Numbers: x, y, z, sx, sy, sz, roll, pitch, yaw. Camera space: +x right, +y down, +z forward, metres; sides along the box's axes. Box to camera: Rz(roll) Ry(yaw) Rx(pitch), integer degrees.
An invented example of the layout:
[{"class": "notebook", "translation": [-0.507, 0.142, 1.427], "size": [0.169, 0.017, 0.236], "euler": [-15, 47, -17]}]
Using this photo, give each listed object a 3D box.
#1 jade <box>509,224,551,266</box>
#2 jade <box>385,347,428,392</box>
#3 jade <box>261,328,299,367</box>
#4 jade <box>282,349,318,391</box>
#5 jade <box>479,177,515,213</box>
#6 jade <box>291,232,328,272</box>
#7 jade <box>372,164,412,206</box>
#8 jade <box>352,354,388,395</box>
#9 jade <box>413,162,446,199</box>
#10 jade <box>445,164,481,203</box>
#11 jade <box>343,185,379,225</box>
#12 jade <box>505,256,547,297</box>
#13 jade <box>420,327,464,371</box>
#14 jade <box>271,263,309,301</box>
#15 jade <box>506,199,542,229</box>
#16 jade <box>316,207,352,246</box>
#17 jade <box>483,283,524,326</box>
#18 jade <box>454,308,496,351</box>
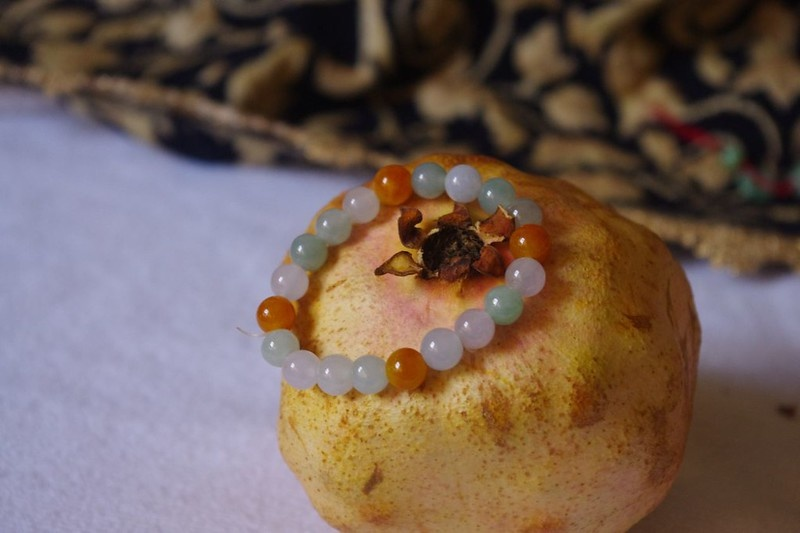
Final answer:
[{"class": "jade", "translation": [0.203, -0.029, 1.545], "size": [0.055, 0.065, 0.056], "euler": [-36, 66, 2]}, {"class": "jade", "translation": [0.011, 0.151, 1.483], "size": [0.062, 0.028, 0.062], "euler": [0, 82, 2]}, {"class": "jade", "translation": [-0.186, 0.122, 1.577], "size": [0.052, 0.052, 0.065], "euler": [-1, 67, -37]}, {"class": "jade", "translation": [-0.147, 0.153, 1.507], "size": [0.050, 0.052, 0.065], "euler": [0, 83, 3]}, {"class": "jade", "translation": [0.149, -0.110, 1.553], "size": [0.050, 0.050, 0.065], "euler": [8, 100, 33]}, {"class": "jade", "translation": [-0.138, -0.025, 1.604], "size": [0.051, 0.054, 0.062], "euler": [-22, 56, -2]}, {"class": "jade", "translation": [-0.012, -0.126, 1.575], "size": [0.055, 0.070, 0.059], "euler": [-7, 40, 1]}, {"class": "jade", "translation": [-0.045, 0.160, 1.481], "size": [0.050, 0.027, 0.055], "euler": [-19, 85, -2]}, {"class": "jade", "translation": [0.045, -0.133, 1.567], "size": [0.049, 0.050, 0.062], "euler": [-3, 88, 43]}, {"class": "jade", "translation": [0.098, -0.128, 1.559], "size": [0.050, 0.053, 0.065], "euler": [1, 106, 12]}, {"class": "jade", "translation": [-0.060, -0.095, 1.568], "size": [0.051, 0.062, 0.055], "euler": [-18, 66, -7]}, {"class": "jade", "translation": [0.188, 0.015, 1.491], "size": [0.053, 0.055, 0.054], "euler": [-23, 35, 6]}, {"class": "jade", "translation": [0.062, 0.119, 1.474], "size": [0.054, 0.057, 0.069], "euler": [-2, 78, 8]}, {"class": "jade", "translation": [-0.170, 0.022, 1.548], "size": [0.048, 0.053, 0.063], "euler": [-9, 60, 15]}, {"class": "jade", "translation": [0.190, -0.082, 1.536], "size": [0.040, 0.051, 0.046], "euler": [19, 98, 1]}, {"class": "jade", "translation": [-0.103, -0.061, 1.563], "size": [0.049, 0.052, 0.064], "euler": [-1, 87, 2]}, {"class": "jade", "translation": [0.153, 0.057, 1.483], "size": [0.049, 0.053, 0.062], "euler": [-18, 52, 13]}, {"class": "jade", "translation": [0.112, 0.091, 1.478], "size": [0.050, 0.053, 0.058], "euler": [13, 78, 19]}]
